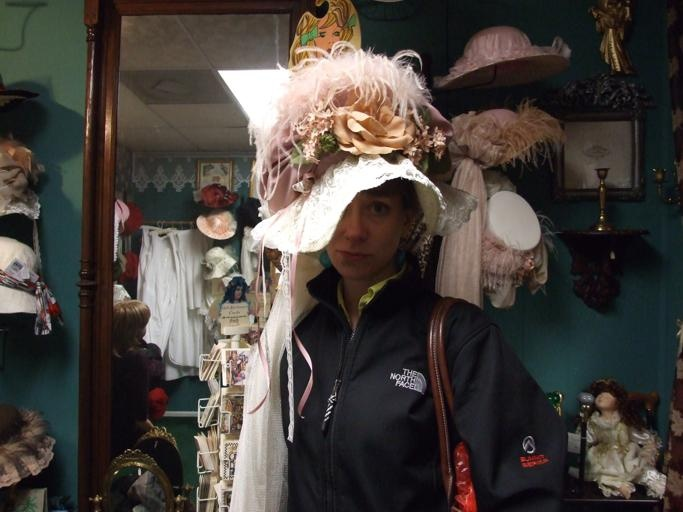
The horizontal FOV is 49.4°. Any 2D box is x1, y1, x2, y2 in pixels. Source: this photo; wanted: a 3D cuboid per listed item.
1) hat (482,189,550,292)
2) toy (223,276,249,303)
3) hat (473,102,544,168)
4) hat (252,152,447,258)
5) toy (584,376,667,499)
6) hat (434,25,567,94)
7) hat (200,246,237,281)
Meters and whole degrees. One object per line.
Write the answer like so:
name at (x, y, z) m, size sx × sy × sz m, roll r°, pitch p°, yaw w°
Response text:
hat at (0.647, -0.047, 2.809) m, size 0.301 × 0.355 × 0.082 m, roll 10°, pitch -10°, yaw -17°
toy at (-0.443, 0.150, 3.145) m, size 0.085 × 0.114 × 0.107 m, roll 12°, pitch -26°, yaw -15°
hat at (0.638, -0.448, 2.845) m, size 0.162 × 0.210 × 0.238 m, roll 12°, pitch 18°, yaw 33°
hat at (0.031, -0.245, 2.574) m, size 0.618 × 0.255 × 0.727 m, roll 1°, pitch 11°, yaw -5°
toy at (1.079, 0.698, 2.882) m, size 0.285 × 0.435 × 0.358 m, roll 4°, pitch -10°, yaw -35°
hat at (0.644, -0.759, 2.899) m, size 0.329 × 0.131 × 0.316 m, roll -9°, pitch 14°, yaw 19°
hat at (-0.526, -0.012, 3.138) m, size 0.161 × 0.127 × 0.145 m, roll 3°, pitch -43°, yaw -6°
